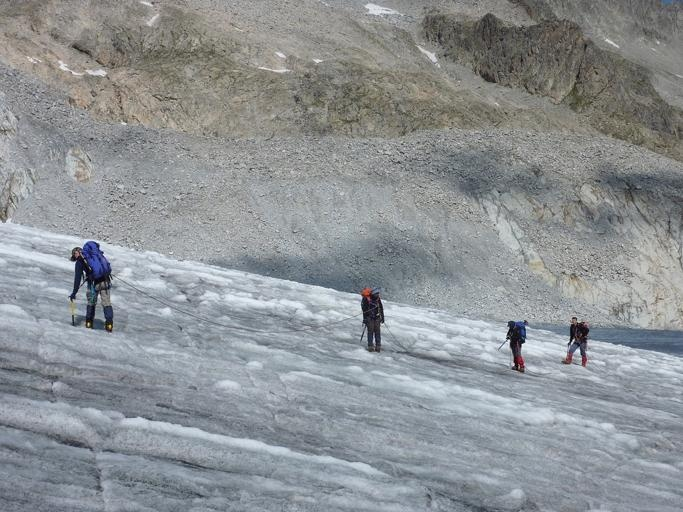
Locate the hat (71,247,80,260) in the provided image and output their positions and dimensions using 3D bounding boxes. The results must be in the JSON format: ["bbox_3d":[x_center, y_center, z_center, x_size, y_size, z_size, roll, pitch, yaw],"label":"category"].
[{"bbox_3d":[-13.051,-0.059,52.298,0.390,0.467,0.486,20,11,-39],"label":"hat"}]

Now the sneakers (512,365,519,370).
[{"bbox_3d":[9.115,5.894,56.099,0.283,0.232,0.210,30,3,35],"label":"sneakers"}]

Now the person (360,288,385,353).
[{"bbox_3d":[1.659,3.311,55.071,1.126,3.092,1.531,-2,19,-31],"label":"person"}]

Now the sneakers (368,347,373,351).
[{"bbox_3d":[1.510,4.808,54.887,0.292,0.199,0.243,6,15,-2],"label":"sneakers"}]
